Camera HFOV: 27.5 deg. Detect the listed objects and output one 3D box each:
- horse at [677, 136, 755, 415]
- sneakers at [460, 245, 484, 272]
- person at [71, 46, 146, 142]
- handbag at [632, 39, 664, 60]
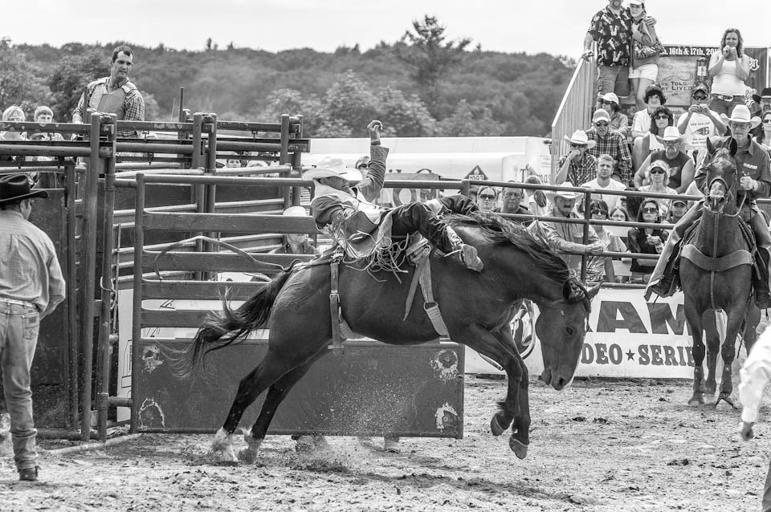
[{"bbox_3d":[4.550,0.256,21.329,0.955,3.583,0.939,0,11,-15],"label":"horse"},{"bbox_3d":[0.969,0.027,17.824,0.196,0.303,0.200,10,13,31],"label":"sneakers"},{"bbox_3d":[-3.811,-2.234,21.651,0.904,1.278,3.106,1,11,-11],"label":"person"},{"bbox_3d":[4.574,-3.596,27.481,0.389,0.323,0.173,1,9,4],"label":"handbag"}]
